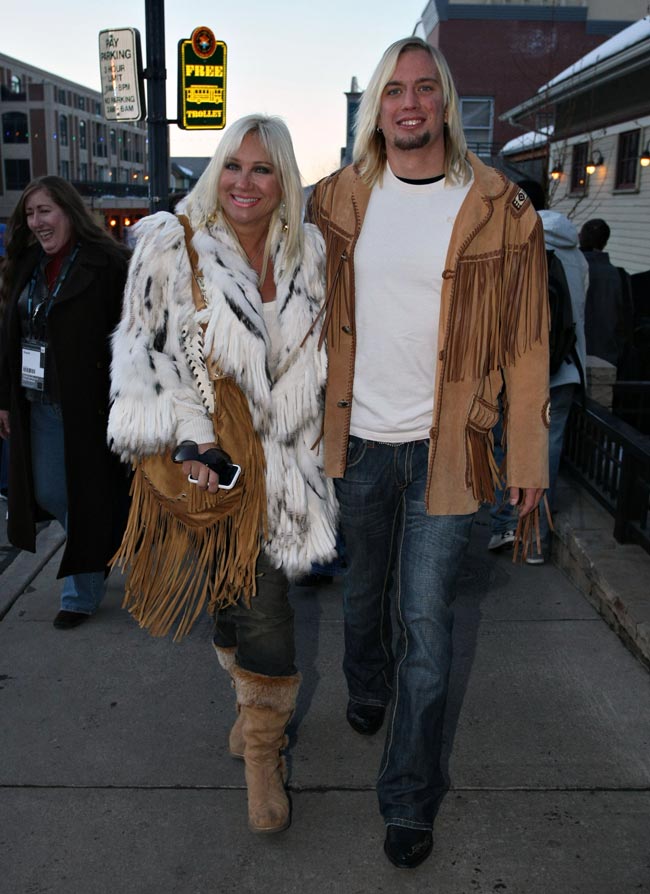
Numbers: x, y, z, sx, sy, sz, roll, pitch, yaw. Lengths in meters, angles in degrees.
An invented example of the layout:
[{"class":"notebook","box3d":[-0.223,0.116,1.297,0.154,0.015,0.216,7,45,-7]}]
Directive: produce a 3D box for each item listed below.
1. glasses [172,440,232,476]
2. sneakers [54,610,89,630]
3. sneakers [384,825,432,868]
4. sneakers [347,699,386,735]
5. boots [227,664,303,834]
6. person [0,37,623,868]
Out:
[{"class":"glasses","box3d":[-0.290,0.024,1.806,0.068,0.037,0.065,18,-10,22]},{"class":"sneakers","box3d":[-1.137,0.777,3.390,0.058,0.066,0.159,-18,-21,22]},{"class":"sneakers","box3d":[0.204,0.972,1.896,0.115,0.099,0.085,-6,0,-19]},{"class":"sneakers","box3d":[0.136,0.906,2.599,0.128,0.125,0.094,6,5,14]},{"class":"boots","box3d":[-0.150,0.805,2.027,0.174,0.412,0.191,-1,9,-6]},{"class":"person","box3d":[0.209,-0.049,2.143,0.649,2.128,0.661,8,12,42]}]
